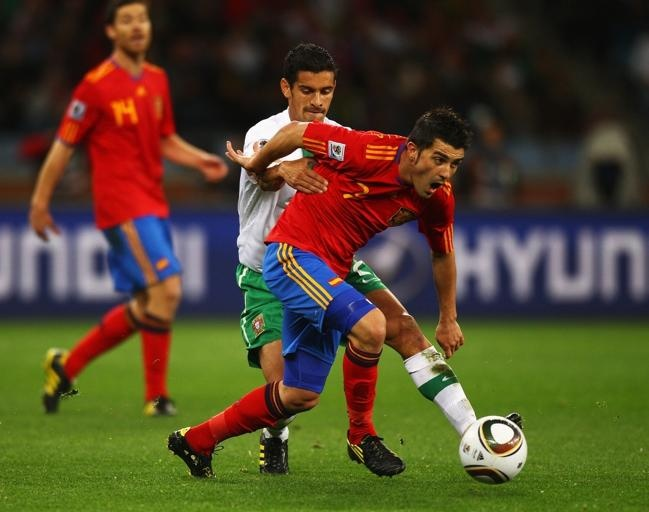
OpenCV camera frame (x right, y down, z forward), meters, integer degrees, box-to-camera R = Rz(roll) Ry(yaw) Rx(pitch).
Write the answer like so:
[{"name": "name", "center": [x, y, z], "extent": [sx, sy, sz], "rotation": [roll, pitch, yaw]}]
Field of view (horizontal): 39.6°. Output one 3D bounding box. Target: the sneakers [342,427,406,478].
[{"name": "sneakers", "center": [0.311, 1.127, 5.379], "extent": [0.156, 0.223, 0.413], "rotation": [-29, 29, -33]}]

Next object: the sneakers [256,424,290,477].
[{"name": "sneakers", "center": [-0.297, 1.167, 5.429], "extent": [0.108, 0.360, 0.145], "rotation": [-1, -10, -3]}]

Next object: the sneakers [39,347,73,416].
[{"name": "sneakers", "center": [-2.110, 0.996, 7.080], "extent": [0.134, 0.447, 0.180], "rotation": [5, 8, -6]}]
